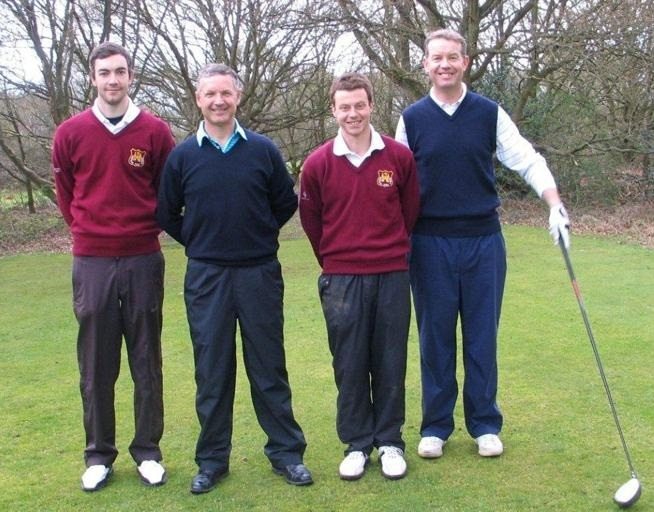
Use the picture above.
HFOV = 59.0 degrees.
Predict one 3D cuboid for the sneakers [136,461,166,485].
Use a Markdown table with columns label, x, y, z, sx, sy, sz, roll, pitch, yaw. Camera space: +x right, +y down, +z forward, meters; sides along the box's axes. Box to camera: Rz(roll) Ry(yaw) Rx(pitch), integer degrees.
| label | x | y | z | sx | sy | sz | roll | pitch | yaw |
| --- | --- | --- | --- | --- | --- | --- | --- | --- | --- |
| sneakers | -0.975 | 1.187 | 3.221 | 0.145 | 0.093 | 0.244 | -6 | 11 | -20 |

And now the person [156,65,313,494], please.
| label | x | y | z | sx | sy | sz | roll | pitch | yaw |
| --- | --- | --- | --- | --- | --- | --- | --- | --- | --- |
| person | -0.538 | 0.093 | 3.227 | 0.790 | 2.287 | 0.647 | -3 | 11 | -4 |

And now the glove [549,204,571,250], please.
| label | x | y | z | sx | sy | sz | roll | pitch | yaw |
| --- | --- | --- | --- | --- | --- | --- | --- | --- | --- |
| glove | 1.302 | -0.163 | 3.249 | 0.139 | 0.248 | 0.083 | -11 | -12 | 22 |

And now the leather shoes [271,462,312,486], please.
| label | x | y | z | sx | sy | sz | roll | pitch | yaw |
| --- | --- | --- | --- | --- | --- | --- | --- | --- | --- |
| leather shoes | -0.192 | 1.201 | 3.219 | 0.084 | 0.096 | 0.222 | -3 | 3 | -45 |

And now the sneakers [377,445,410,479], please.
| label | x | y | z | sx | sy | sz | roll | pitch | yaw |
| --- | --- | --- | --- | --- | --- | --- | --- | --- | --- |
| sneakers | 0.375 | 1.149 | 3.274 | 0.159 | 0.123 | 0.256 | -1 | 10 | 6 |

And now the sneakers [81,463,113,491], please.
| label | x | y | z | sx | sy | sz | roll | pitch | yaw |
| --- | --- | --- | --- | --- | --- | --- | --- | --- | --- |
| sneakers | -1.262 | 1.207 | 3.156 | 0.072 | 0.083 | 0.198 | 1 | -7 | -3 |

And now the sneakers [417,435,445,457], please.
| label | x | y | z | sx | sy | sz | roll | pitch | yaw |
| --- | --- | --- | --- | --- | --- | --- | --- | --- | --- |
| sneakers | 0.615 | 1.120 | 3.402 | 0.088 | 0.076 | 0.216 | -1 | -7 | 9 |

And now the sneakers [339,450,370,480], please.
| label | x | y | z | sx | sy | sz | roll | pitch | yaw |
| --- | --- | --- | --- | --- | --- | --- | --- | --- | --- |
| sneakers | 0.149 | 1.164 | 3.239 | 0.121 | 0.106 | 0.197 | 2 | 11 | 19 |
